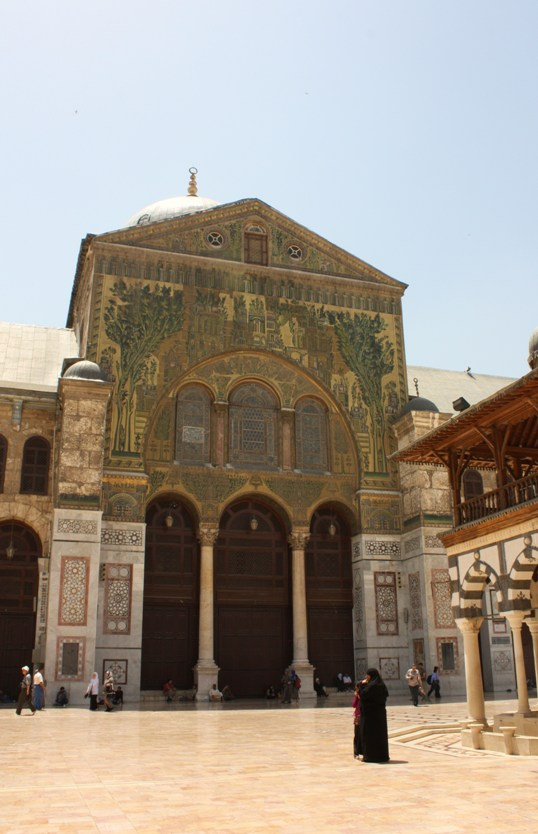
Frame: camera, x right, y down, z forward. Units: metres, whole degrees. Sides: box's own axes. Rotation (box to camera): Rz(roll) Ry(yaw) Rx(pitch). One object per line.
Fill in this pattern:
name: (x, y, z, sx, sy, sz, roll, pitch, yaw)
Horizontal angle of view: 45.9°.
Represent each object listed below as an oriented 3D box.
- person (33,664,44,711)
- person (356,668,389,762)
person: (-6.055, 7.176, 16.636, 0.270, 0.905, 0.869, 5, -19, -21)
person: (1.313, 3.770, 8.003, 0.382, 1.088, 0.464, -4, -17, 7)
